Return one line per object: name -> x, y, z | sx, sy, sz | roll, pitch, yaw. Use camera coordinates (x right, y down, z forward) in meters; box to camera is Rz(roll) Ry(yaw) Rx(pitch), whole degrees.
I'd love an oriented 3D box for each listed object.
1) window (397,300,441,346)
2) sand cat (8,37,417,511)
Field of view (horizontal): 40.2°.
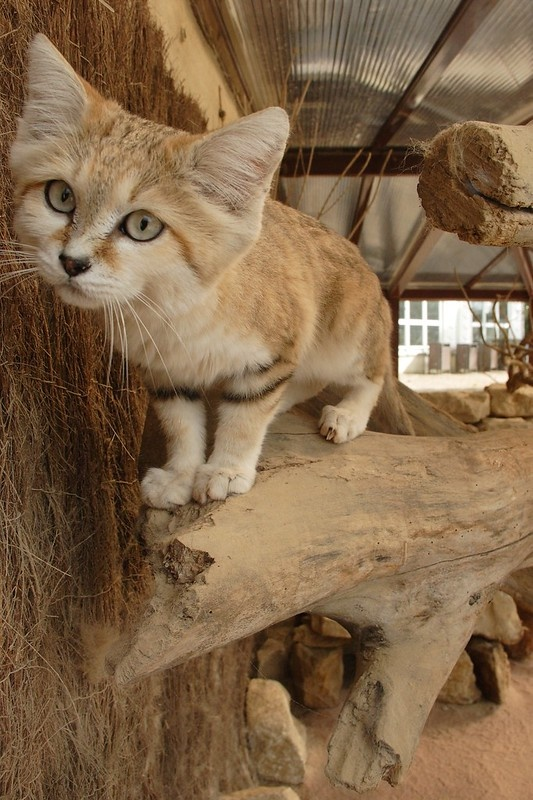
window -> 1.248, -0.620, 6.024 | 0.455, 0.409, 0.098 | 1, -15, -1
sand cat -> -0.086, -0.243, 1.591 | 0.483, 0.887, 0.878 | 8, 10, 38
